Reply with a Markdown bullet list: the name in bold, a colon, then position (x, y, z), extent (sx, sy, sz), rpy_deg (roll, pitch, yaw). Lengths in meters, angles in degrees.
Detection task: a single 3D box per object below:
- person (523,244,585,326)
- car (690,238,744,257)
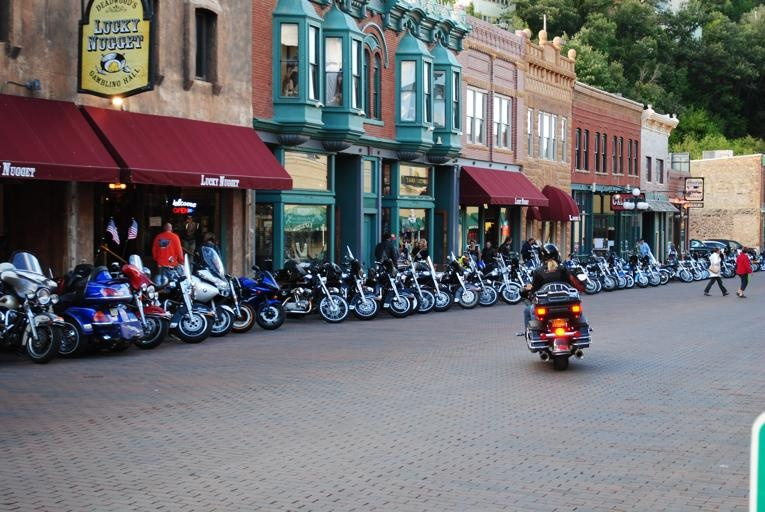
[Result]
- **person**: position (3.331, 0.483, 16.828), extent (1.029, 1.040, 1.675), rpy_deg (1, 6, 8)
- **car**: position (20.779, -0.572, 53.071), extent (1.906, 0.957, 1.180), rpy_deg (-5, 3, 11)
